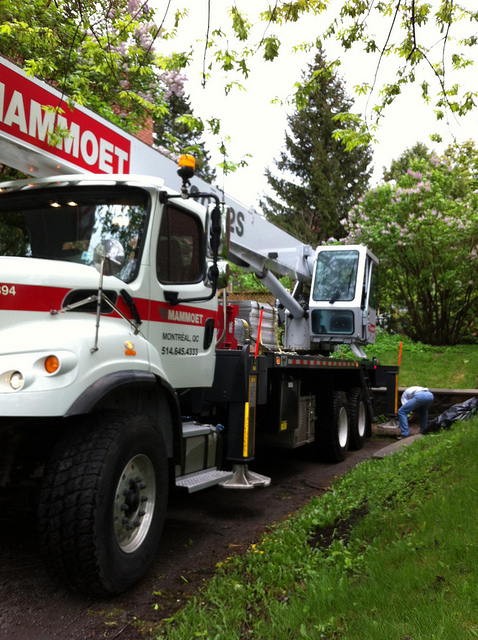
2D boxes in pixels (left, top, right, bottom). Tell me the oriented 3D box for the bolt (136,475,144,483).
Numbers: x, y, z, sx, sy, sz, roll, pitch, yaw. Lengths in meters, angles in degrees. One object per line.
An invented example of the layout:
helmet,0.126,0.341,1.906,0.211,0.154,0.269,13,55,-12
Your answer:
bolt,-0.607,0.964,3.074,0.030,0.041,0.011,9,-4,0

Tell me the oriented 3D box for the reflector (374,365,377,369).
reflector,2.909,1.003,10.780,0.047,0.048,0.012,19,-8,-36

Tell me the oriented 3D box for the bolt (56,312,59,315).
bolt,-1.030,-0.038,2.872,0.006,0.011,0.019,-10,-11,39

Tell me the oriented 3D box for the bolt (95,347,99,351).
bolt,-0.794,0.159,2.819,0.020,0.022,0.021,-1,-3,33

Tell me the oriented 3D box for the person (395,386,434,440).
person,3.402,1.809,9.845,0.680,1.007,2.281,-6,-9,17

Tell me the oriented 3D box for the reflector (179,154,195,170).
reflector,-0.388,-1.224,3.914,0.110,0.096,0.112,5,-4,31

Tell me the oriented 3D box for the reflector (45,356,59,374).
reflector,-0.942,0.222,2.548,0.072,0.083,0.034,-2,-8,-9

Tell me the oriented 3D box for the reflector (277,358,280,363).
reflector,0.441,0.467,5.753,0.036,0.041,0.036,1,1,-11

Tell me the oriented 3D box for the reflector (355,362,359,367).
reflector,2.156,0.811,9.234,0.045,0.086,0.088,-1,-1,29

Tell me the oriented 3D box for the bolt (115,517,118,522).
bolt,-0.689,1.119,2.840,0.017,0.033,0.018,0,-2,9

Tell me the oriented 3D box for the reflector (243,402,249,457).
reflector,0.065,1.016,4.699,0.045,0.494,0.095,-8,-9,27
